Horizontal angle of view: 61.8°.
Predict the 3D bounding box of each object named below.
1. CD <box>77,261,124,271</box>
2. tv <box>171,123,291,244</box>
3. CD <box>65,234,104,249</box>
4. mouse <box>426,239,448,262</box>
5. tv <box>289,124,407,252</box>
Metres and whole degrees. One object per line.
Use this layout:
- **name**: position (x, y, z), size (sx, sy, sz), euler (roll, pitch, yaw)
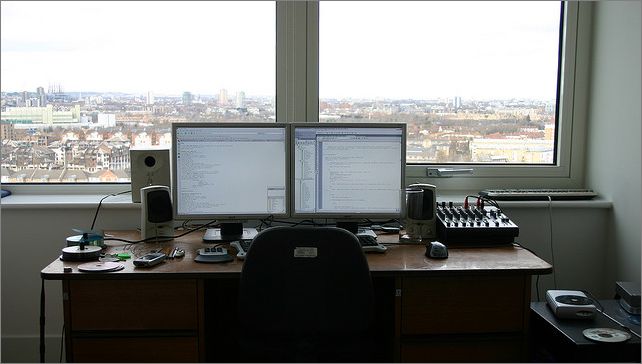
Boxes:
- **CD**: position (-1.334, 0.516, 3.255), size (0.275, 0.030, 0.106), euler (-3, 10, -1)
- **tv**: position (-0.597, -0.031, 3.573), size (1.014, 0.781, 0.292), euler (0, 1, -3)
- **CD**: position (-1.523, 0.368, 3.457), size (0.163, 0.056, 0.157), euler (-4, 10, -40)
- **mouse**: position (0.744, 0.433, 3.369), size (0.097, 0.062, 0.134), euler (0, 7, 4)
- **tv**: position (0.177, -0.002, 3.540), size (1.035, 0.886, 0.385), euler (0, 3, -1)
